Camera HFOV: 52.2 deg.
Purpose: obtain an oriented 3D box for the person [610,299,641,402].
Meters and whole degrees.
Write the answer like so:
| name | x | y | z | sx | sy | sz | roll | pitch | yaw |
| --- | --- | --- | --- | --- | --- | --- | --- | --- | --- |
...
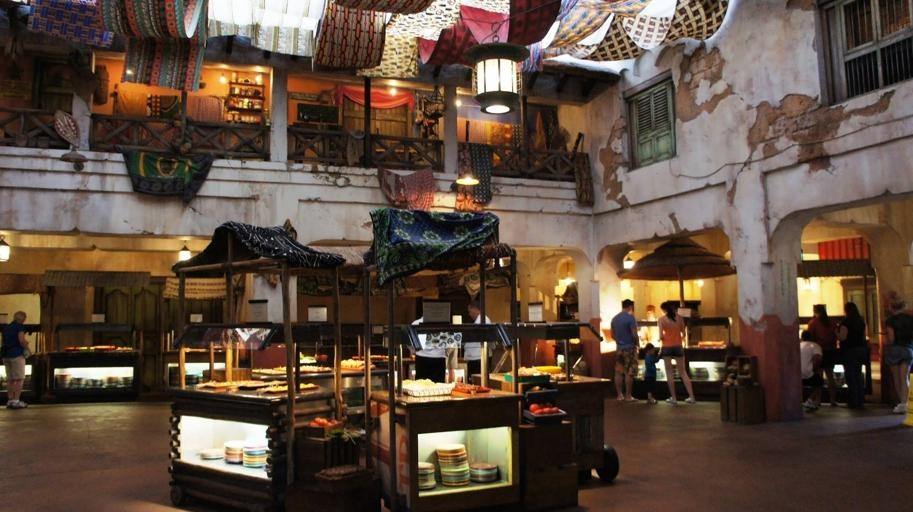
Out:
| name | x | y | z | sx | sy | sz | roll | pitch | yaw |
| --- | --- | --- | --- | --- | --- | --- | --- | --- | --- |
| person | 4.101 | 2.257 | 22.656 | 0.627 | 2.434 | 1.308 | -2 | -9 | 11 |

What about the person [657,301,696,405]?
| name | x | y | z | sx | sy | sz | roll | pitch | yaw |
| --- | --- | --- | --- | --- | --- | --- | --- | --- | --- |
| person | 5.343 | 2.321 | 22.683 | 0.805 | 2.440 | 1.528 | -3 | -9 | 13 |

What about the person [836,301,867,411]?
| name | x | y | z | sx | sy | sz | roll | pitch | yaw |
| --- | --- | --- | --- | --- | --- | --- | --- | --- | --- |
| person | 9.201 | 2.294 | 21.582 | 0.563 | 2.398 | 0.872 | -4 | -10 | 23 |

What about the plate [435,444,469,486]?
| name | x | y | z | sx | sy | sz | roll | pitch | yaw |
| --- | --- | --- | --- | --- | --- | --- | --- | --- | --- |
| plate | -0.216 | 3.695 | 16.565 | 0.659 | 0.663 | 0.628 | -1 | -8 | -14 |

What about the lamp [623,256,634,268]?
| name | x | y | z | sx | sy | sz | roll | pitch | yaw |
| --- | --- | --- | --- | --- | --- | --- | --- | --- | --- |
| lamp | 4.674 | 0.177 | 25.394 | 0.343 | 0.402 | 0.341 | -2 | -7 | 8 |

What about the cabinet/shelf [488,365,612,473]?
| name | x | y | z | sx | sy | sz | roll | pitch | yaw |
| --- | --- | --- | --- | --- | --- | --- | --- | --- | --- |
| cabinet/shelf | 1.638 | 3.001 | 16.936 | 1.454 | 1.882 | 2.030 | -1 | -4 | -14 |

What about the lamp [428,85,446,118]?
| name | x | y | z | sx | sy | sz | roll | pitch | yaw |
| --- | --- | --- | --- | --- | --- | --- | --- | --- | --- |
| lamp | -0.543 | -3.935 | 23.554 | 0.408 | 0.760 | 0.406 | -5 | -10 | 24 |

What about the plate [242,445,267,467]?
| name | x | y | z | sx | sy | sz | roll | pitch | yaw |
| --- | --- | --- | --- | --- | --- | --- | --- | --- | --- |
| plate | -3.616 | 3.552 | 16.657 | 0.387 | 0.278 | 0.387 | 0 | -4 | 13 |

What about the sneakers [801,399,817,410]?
| name | x | y | z | sx | sy | sz | roll | pitch | yaw |
| --- | --- | --- | --- | --- | --- | --- | --- | --- | --- |
| sneakers | 8.118 | 3.408 | 21.417 | 0.292 | 0.260 | 0.352 | -4 | -9 | 20 |

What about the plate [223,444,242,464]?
| name | x | y | z | sx | sy | sz | roll | pitch | yaw |
| --- | --- | --- | --- | --- | --- | --- | --- | --- | --- |
| plate | -4.012 | 3.509 | 16.704 | 0.348 | 0.245 | 0.340 | 1 | -2 | -14 |

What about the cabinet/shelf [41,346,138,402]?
| name | x | y | z | sx | sy | sz | roll | pitch | yaw |
| --- | --- | --- | --- | --- | --- | --- | --- | --- | --- |
| cabinet/shelf | -9.280 | 3.012 | 24.256 | 2.224 | 1.320 | 1.730 | 1 | 2 | -6 |

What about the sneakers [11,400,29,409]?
| name | x | y | z | sx | sy | sz | roll | pitch | yaw |
| --- | --- | --- | --- | --- | --- | --- | --- | --- | --- |
| sneakers | -10.549 | 3.547 | 22.430 | 0.385 | 0.159 | 0.143 | 1 | -9 | -20 |

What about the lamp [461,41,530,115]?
| name | x | y | z | sx | sy | sz | roll | pitch | yaw |
| --- | --- | --- | --- | --- | --- | --- | --- | --- | --- |
| lamp | 0.804 | -3.588 | 18.793 | 1.130 | 1.109 | 1.174 | -2 | -1 | 37 |

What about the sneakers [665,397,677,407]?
| name | x | y | z | sx | sy | sz | roll | pitch | yaw |
| --- | --- | --- | --- | --- | --- | --- | --- | --- | --- |
| sneakers | 5.136 | 3.478 | 22.330 | 0.173 | 0.130 | 0.331 | 3 | -2 | -6 |

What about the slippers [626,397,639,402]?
| name | x | y | z | sx | sy | sz | roll | pitch | yaw |
| --- | --- | --- | --- | --- | --- | --- | --- | --- | --- |
| slippers | 4.274 | 3.479 | 22.679 | 0.331 | 0.128 | 0.128 | 1 | -7 | -23 |

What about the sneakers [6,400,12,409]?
| name | x | y | z | sx | sy | sz | roll | pitch | yaw |
| --- | --- | --- | --- | --- | --- | --- | --- | --- | --- |
| sneakers | -10.788 | 3.549 | 22.431 | 0.111 | 0.192 | 0.370 | 6 | -11 | -38 |

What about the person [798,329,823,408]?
| name | x | y | z | sx | sy | sz | roll | pitch | yaw |
| --- | --- | --- | --- | --- | --- | --- | --- | --- | --- |
| person | 8.242 | 2.610 | 21.580 | 0.506 | 1.846 | 1.091 | -4 | -9 | 20 |

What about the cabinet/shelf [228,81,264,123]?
| name | x | y | z | sx | sy | sz | roll | pitch | yaw |
| --- | --- | --- | --- | --- | --- | --- | --- | --- | --- |
| cabinet/shelf | -5.665 | -4.084 | 24.794 | 1.015 | 1.055 | 0.373 | 1 | 2 | -29 |
